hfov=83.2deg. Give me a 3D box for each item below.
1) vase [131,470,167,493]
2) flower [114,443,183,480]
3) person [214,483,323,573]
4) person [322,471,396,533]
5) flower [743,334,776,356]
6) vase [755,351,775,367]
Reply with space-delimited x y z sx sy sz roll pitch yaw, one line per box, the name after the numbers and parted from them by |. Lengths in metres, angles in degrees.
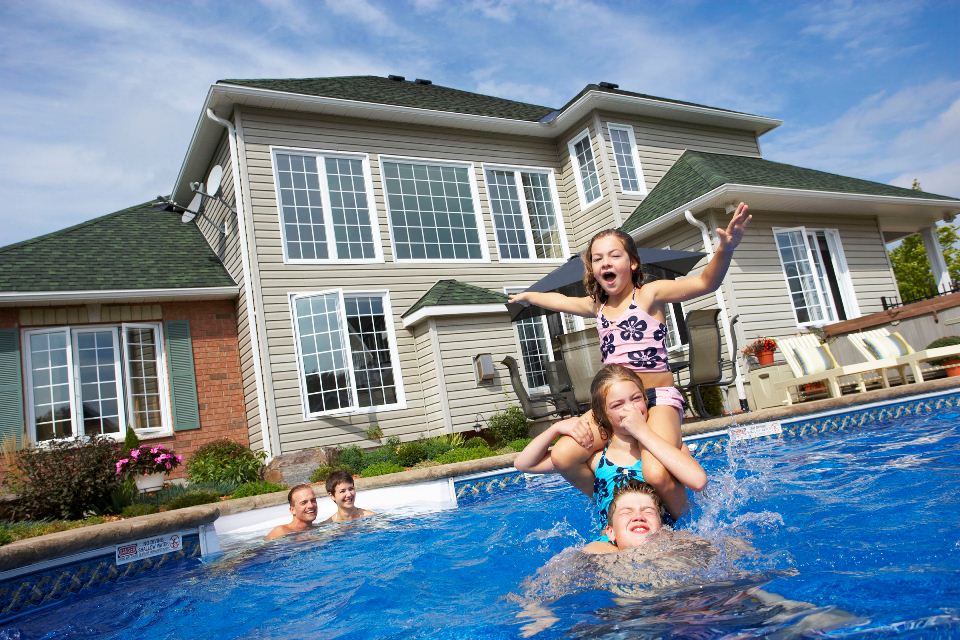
-6.011 3.062 10.219 0.417 0.180 0.403 7 -11 -41 | vase
-5.914 2.621 9.979 0.690 0.347 0.592 1 -3 -16 | flower
-2.464 2.415 6.511 0.542 0.572 1.363 -15 -8 19 | person
-1.624 2.317 7.059 0.709 0.689 0.779 -8 -8 -25 | person
6.425 0.597 12.699 0.578 0.264 0.567 -2 -6 -39 | flower
6.476 0.887 12.481 0.398 0.237 0.357 0 -9 2 | vase
